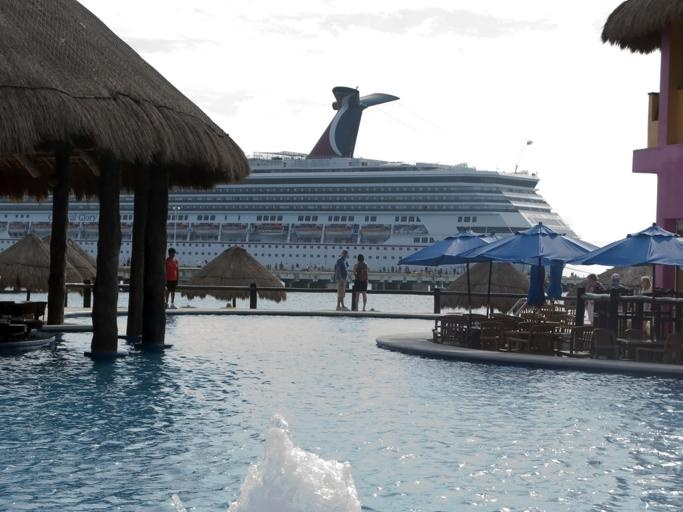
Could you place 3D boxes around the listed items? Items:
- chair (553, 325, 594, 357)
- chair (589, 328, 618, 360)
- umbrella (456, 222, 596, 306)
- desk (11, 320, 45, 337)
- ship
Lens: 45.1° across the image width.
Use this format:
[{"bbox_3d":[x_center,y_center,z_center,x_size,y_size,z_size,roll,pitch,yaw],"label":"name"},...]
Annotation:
[{"bbox_3d":[4.436,1.619,15.351,0.642,0.830,0.627,0,3,-15],"label":"chair"},{"bbox_3d":[4.693,1.569,14.577,0.512,0.690,0.492,1,-4,-14],"label":"chair"},{"bbox_3d":[3.821,-0.072,16.409,2.020,1.358,2.001,-2,4,-24],"label":"umbrella"},{"bbox_3d":[-6.075,1.319,15.568,0.503,0.264,1.055,0,2,-6],"label":"desk"},{"bbox_3d":[-16.329,-3.611,84.339,70.839,22.173,18.639,-1,0,18],"label":"ship"}]
